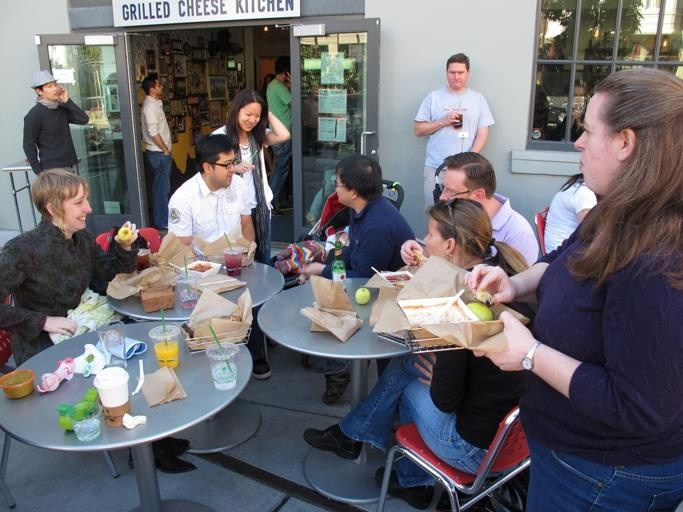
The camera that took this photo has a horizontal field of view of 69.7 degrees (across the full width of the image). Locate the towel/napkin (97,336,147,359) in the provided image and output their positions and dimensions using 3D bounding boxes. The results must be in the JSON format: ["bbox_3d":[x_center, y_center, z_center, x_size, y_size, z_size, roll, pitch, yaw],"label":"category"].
[{"bbox_3d":[-0.931,0.387,2.094,0.123,0.041,0.105,16,19,34],"label":"towel/napkin"}]

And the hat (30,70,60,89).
[{"bbox_3d":[-3.239,-1.861,5.277,0.283,0.117,0.257,-13,13,20],"label":"hat"}]

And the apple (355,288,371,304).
[{"bbox_3d":[0.107,0.203,2.476,0.070,0.091,0.072,-14,21,-30],"label":"apple"}]

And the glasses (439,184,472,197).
[{"bbox_3d":[0.710,-0.399,2.997,0.161,0.053,0.161,-10,22,-25],"label":"glasses"}]

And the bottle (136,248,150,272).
[{"bbox_3d":[-1.174,0.031,2.881,0.085,0.103,0.088,14,23,28],"label":"bottle"}]

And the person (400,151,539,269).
[{"bbox_3d":[0.773,-0.493,3.297,0.677,1.082,0.758,-7,16,-6],"label":"person"}]

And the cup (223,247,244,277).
[{"bbox_3d":[-0.631,0.034,2.934,0.139,0.163,0.146,0,16,0],"label":"cup"}]

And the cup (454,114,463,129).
[{"bbox_3d":[1.073,-1.228,4.485,0.075,0.142,0.110,4,20,13],"label":"cup"}]

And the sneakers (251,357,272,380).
[{"bbox_3d":[-0.551,0.787,3.413,0.093,0.099,0.239,-3,12,-15],"label":"sneakers"}]

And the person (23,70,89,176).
[{"bbox_3d":[-3.192,-1.470,5.445,0.692,1.079,0.381,-17,25,-40],"label":"person"}]

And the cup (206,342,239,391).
[{"bbox_3d":[-0.466,0.412,1.914,0.148,0.174,0.159,-1,19,0],"label":"cup"}]

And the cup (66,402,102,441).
[{"bbox_3d":[-0.851,0.554,1.629,0.098,0.082,0.104,4,25,-2],"label":"cup"}]

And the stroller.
[{"bbox_3d":[-0.116,-0.151,3.806,1.019,0.741,0.595,-16,28,-36],"label":"stroller"}]

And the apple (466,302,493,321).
[{"bbox_3d":[0.451,0.178,1.562,0.055,0.059,0.058,-4,20,1],"label":"apple"}]

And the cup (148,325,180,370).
[{"bbox_3d":[-0.736,0.366,2.071,0.164,0.190,0.169,-1,5,0],"label":"cup"}]
